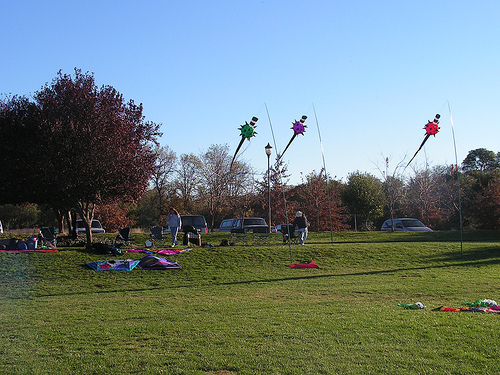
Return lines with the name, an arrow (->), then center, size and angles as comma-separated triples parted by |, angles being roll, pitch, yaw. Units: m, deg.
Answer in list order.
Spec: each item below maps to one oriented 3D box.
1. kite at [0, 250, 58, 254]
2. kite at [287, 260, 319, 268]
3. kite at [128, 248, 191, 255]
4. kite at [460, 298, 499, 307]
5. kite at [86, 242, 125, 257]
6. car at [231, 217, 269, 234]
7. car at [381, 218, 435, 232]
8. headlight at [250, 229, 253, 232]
kite -> -10.699, 3.271, 24.920 | 2.482, 0.105, 1.108 | -1, 0, -25
kite -> 2.604, 4.018, 25.533 | 1.120, 0.335, 0.166 | -1, -39, -3
kite -> -4.547, 3.440, 26.062 | 2.784, 0.156, 1.331 | -1, 0, 7
kite -> 7.176, 3.728, 15.891 | 0.779, 0.220, 0.994 | -1, 0, 5
kite -> -7.265, 3.249, 25.449 | 2.082, 0.559, 0.832 | 0, 1, 23
car -> -0.045, 2.654, 33.303 | 0.999, 0.933, 2.164 | 1, 1, -15
car -> 11.790, 3.170, 39.146 | 1.420, 1.036, 2.658 | 2, -10, -20
headlight -> 0.056, 2.883, 32.262 | 0.162, 0.185, 0.094 | 0, -7, 3
